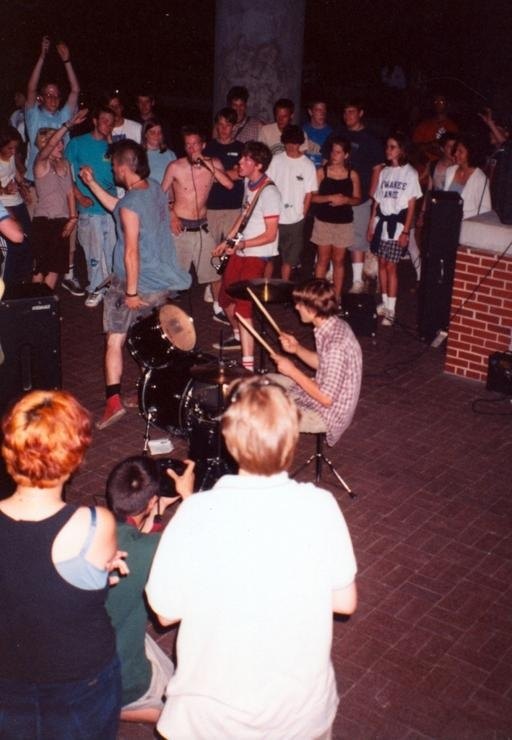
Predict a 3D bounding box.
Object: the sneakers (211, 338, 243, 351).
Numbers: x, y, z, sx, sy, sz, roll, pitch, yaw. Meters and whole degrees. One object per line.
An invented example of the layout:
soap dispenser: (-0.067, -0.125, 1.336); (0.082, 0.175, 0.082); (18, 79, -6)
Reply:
sneakers: (-0.357, -0.336, 7.097); (0.431, 0.175, 0.161); (2, 24, -6)

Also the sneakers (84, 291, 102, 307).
sneakers: (-2.128, -0.921, 8.182); (0.137, 0.152, 0.360); (10, 40, 2)

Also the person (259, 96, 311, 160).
person: (0.374, -3.321, 8.893); (0.759, 0.952, 0.613); (6, 31, 8)

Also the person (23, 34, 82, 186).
person: (-2.761, -3.348, 8.550); (0.665, 2.163, 0.617); (2, -8, -11)

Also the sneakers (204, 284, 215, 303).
sneakers: (-0.611, -0.994, 8.229); (0.105, 0.106, 0.275); (-1, 22, -7)

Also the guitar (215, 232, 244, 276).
guitar: (-0.214, -1.128, 6.145); (0.143, 0.514, 0.210); (26, 26, -4)

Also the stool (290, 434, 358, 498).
stool: (0.500, 0.692, 4.710); (0.447, 0.544, 0.487); (-3, 11, -6)

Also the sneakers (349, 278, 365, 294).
sneakers: (1.447, -1.186, 8.922); (0.175, 0.192, 0.470); (0, 20, 19)

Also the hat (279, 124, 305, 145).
hat: (0.457, -2.853, 7.568); (0.233, 0.254, 0.273); (-5, 23, -22)

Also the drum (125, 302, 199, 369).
drum: (-0.623, -0.273, 4.549); (0.362, 0.474, 0.432); (29, 31, 16)

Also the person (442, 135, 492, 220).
person: (2.513, -2.254, 7.476); (0.361, 1.026, 0.657); (-31, 45, -20)

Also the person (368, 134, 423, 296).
person: (1.718, -1.886, 7.871); (0.396, 1.981, 0.731); (-5, 20, -21)

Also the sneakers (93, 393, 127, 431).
sneakers: (-1.234, 0.371, 5.465); (0.155, 0.388, 0.260); (-2, 57, -56)

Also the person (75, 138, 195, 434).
person: (-1.149, -0.761, 5.443); (1.205, 2.318, 1.094); (8, 21, 3)

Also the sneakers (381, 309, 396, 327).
sneakers: (1.699, -0.680, 8.048); (0.125, 0.129, 0.307); (2, 32, 12)

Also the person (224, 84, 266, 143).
person: (-0.216, -3.639, 8.986); (0.855, 0.789, 0.450); (5, 33, 9)
